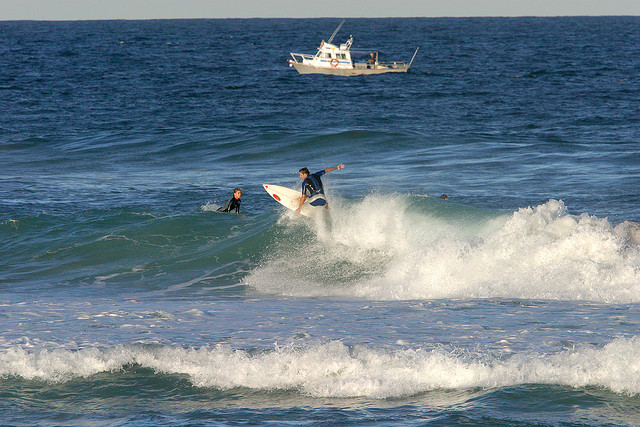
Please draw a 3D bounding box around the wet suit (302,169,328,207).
[{"bbox_3d":[-0.368,-1.472,76.350,1.348,2.093,0.517,0,9,0],"label":"wet suit"}]

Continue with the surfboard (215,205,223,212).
[{"bbox_3d":[-6.014,-0.353,79.480,0.238,0.312,1.388,-19,6,1],"label":"surfboard"}]

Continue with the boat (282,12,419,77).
[{"bbox_3d":[1.752,-16.751,133.181,9.319,6.134,60.333,0,6,-1],"label":"boat"}]

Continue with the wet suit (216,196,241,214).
[{"bbox_3d":[-5.281,-0.551,78.682,1.344,0.563,0.974,-6,-5,40],"label":"wet suit"}]
